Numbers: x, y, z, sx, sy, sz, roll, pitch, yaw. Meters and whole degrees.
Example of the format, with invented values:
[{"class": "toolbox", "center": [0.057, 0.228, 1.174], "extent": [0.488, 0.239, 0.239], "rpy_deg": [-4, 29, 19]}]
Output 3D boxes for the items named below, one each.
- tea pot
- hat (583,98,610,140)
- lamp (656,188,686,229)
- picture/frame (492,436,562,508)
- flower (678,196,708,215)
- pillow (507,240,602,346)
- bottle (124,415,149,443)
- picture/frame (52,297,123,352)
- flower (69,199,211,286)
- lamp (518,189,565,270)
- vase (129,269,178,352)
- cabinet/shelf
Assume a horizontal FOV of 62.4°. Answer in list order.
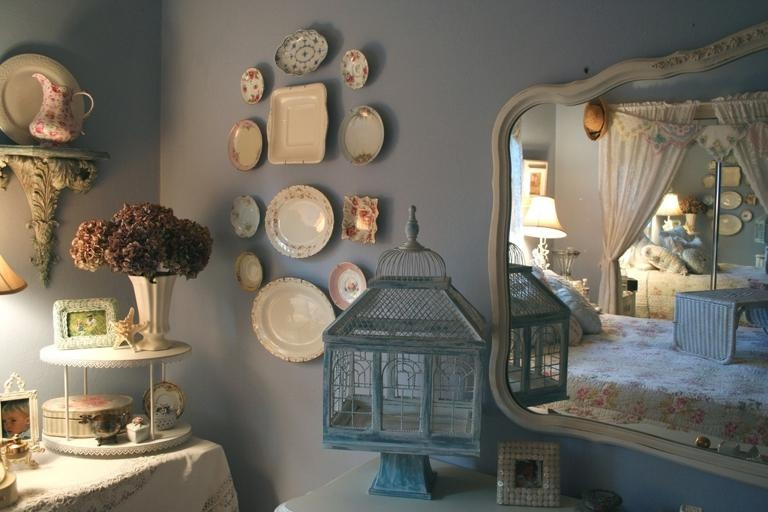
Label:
[{"class": "tea pot", "center": [-1.690, -0.746, 3.282], "extent": [0.393, 0.424, 0.295], "rpy_deg": [0, 3, -35]}, {"class": "hat", "center": [0.915, -0.601, 2.771], "extent": [0.049, 0.167, 0.136], "rpy_deg": [-2, -13, -19]}, {"class": "lamp", "center": [1.191, -0.203, 2.639], "extent": [0.112, 0.168, 0.115], "rpy_deg": [0, -3, 2]}, {"class": "picture/frame", "center": [0.623, 0.935, 2.723], "extent": [0.225, 0.260, 0.017], "rpy_deg": [1, -8, 2]}, {"class": "flower", "center": [1.273, -0.211, 2.614], "extent": [0.078, 0.053, 0.071], "rpy_deg": [-1, -1, 30]}, {"class": "pillow", "center": [0.780, 0.156, 2.848], "extent": [0.110, 0.414, 0.356], "rpy_deg": [-20, -27, -4]}, {"class": "bottle", "center": [-1.256, 0.874, 3.250], "extent": [0.120, 0.148, 0.098], "rpy_deg": [1, 1, -42]}, {"class": "picture/frame", "center": [-1.558, 0.366, 3.332], "extent": [0.225, 0.250, 0.041], "rpy_deg": [-1, -9, -27]}, {"class": "flower", "center": [-1.277, -0.039, 3.378], "extent": [0.673, 0.503, 0.583], "rpy_deg": [9, 19, -12]}, {"class": "lamp", "center": [0.705, -0.113, 2.832], "extent": [0.243, 0.431, 0.262], "rpy_deg": [-2, -8, 14]}, {"class": "vase", "center": [-1.231, 0.306, 3.385], "extent": [0.251, 0.372, 0.264], "rpy_deg": [1, 1, 22]}, {"class": "cabinet/shelf", "center": [-1.390, 0.738, 3.224], "extent": [0.561, 0.438, 0.611], "rpy_deg": [0, -1, 10]}]
